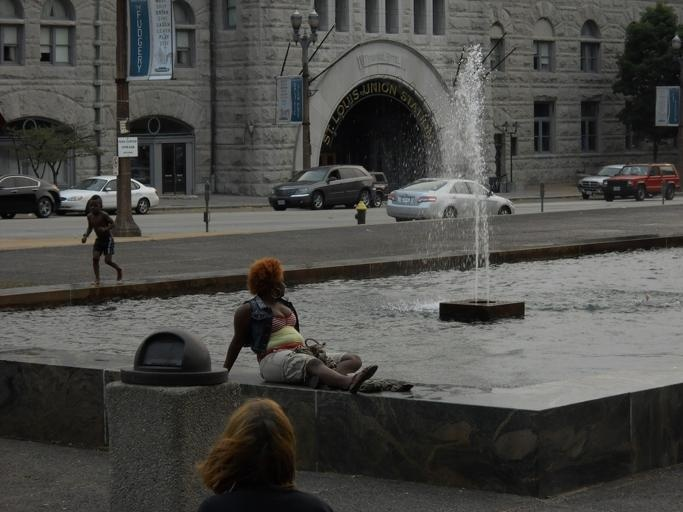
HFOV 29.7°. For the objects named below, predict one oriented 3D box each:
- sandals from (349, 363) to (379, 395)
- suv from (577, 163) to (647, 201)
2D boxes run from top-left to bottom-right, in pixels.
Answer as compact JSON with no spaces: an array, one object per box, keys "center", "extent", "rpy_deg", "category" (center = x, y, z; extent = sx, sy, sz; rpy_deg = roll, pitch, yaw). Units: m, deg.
[{"center":[0.212,1.156,12.026],"extent":[0.140,0.412,0.149],"rpy_deg":[43,-17,-34],"category":"sandals"},{"center":[10.695,-2.949,53.723],"extent":[2.943,1.587,2.072],"rpy_deg":[-9,8,-40],"category":"suv"}]
